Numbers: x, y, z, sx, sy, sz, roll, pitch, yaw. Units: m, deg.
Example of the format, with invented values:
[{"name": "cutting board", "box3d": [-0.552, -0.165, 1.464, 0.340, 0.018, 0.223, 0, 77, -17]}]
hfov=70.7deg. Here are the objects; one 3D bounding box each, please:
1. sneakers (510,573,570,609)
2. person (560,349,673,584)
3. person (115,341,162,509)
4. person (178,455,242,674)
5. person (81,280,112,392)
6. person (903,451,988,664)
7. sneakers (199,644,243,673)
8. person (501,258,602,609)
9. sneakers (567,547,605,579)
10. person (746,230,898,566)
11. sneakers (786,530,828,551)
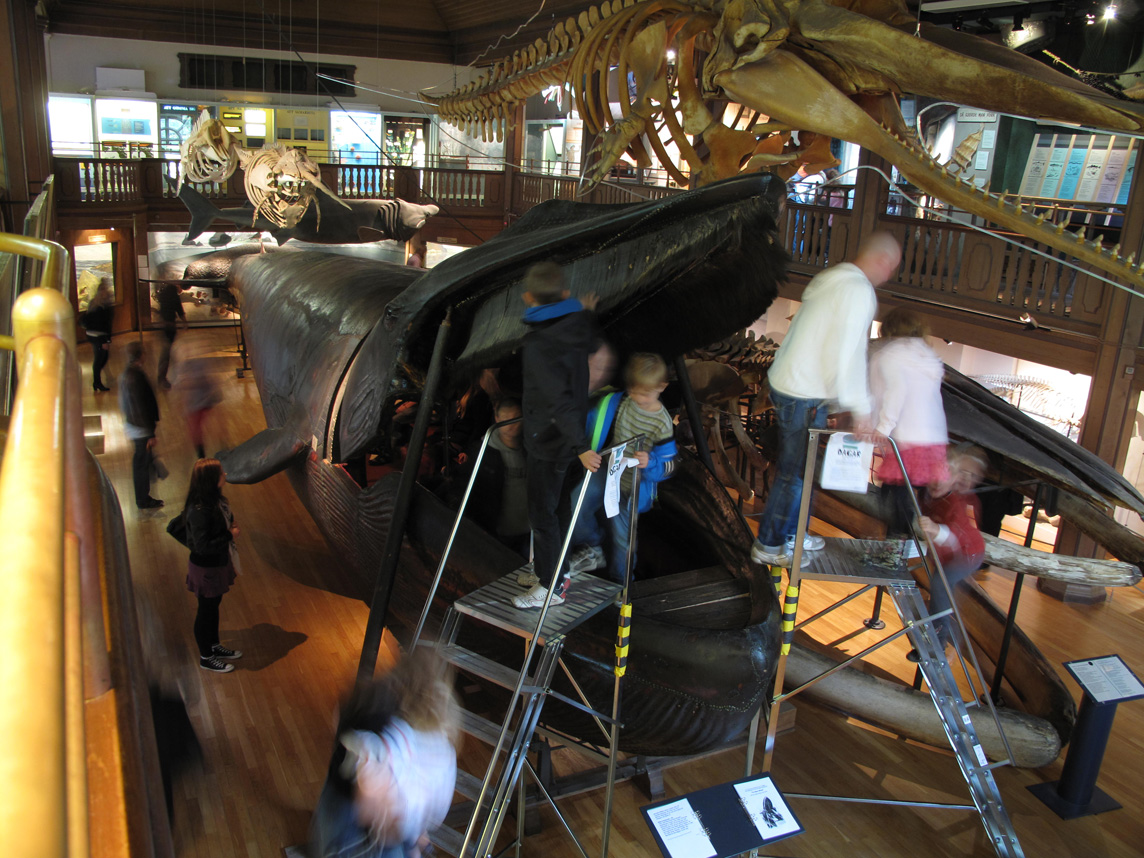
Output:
[{"name": "sneakers", "box3d": [-0.140, 0.677, 3.368, 0.209, 0.106, 0.108, 1, 9, -2]}, {"name": "person", "box3d": [0.242, 0.226, 3.829, 0.445, 1.299, 0.438, 20, 39, 17]}, {"name": "person", "box3d": [-4.121, -0.118, 7.715, 0.300, 1.555, 1.147, -8, 17, -28]}, {"name": "person", "box3d": [-2.299, 0.897, 5.119, 0.320, 1.470, 0.324, -10, 18, -36]}, {"name": "person", "box3d": [-6.595, -1.364, 11.259, 0.357, 1.479, 1.603, -8, 17, -30]}, {"name": "person", "box3d": [2.124, 0.675, 4.536, 0.402, 1.379, 0.420, 5, 26, 29]}, {"name": "sneakers", "box3d": [-2.338, 1.516, 5.381, 0.330, 0.176, 0.115, -2, 19, -22]}, {"name": "person", "box3d": [-0.078, -0.016, 3.504, 0.351, 1.394, 0.972, 0, 15, -2]}, {"name": "sneakers", "box3d": [0.070, 0.619, 3.730, 0.075, 0.096, 0.231, -1, 6, 40]}, {"name": "person", "box3d": [1.107, -0.052, 3.600, 0.519, 1.602, 0.499, 6, 15, 21]}, {"name": "sneakers", "box3d": [1.069, 0.511, 3.682, 0.113, 0.060, 0.171, 0, 2, 2]}]
